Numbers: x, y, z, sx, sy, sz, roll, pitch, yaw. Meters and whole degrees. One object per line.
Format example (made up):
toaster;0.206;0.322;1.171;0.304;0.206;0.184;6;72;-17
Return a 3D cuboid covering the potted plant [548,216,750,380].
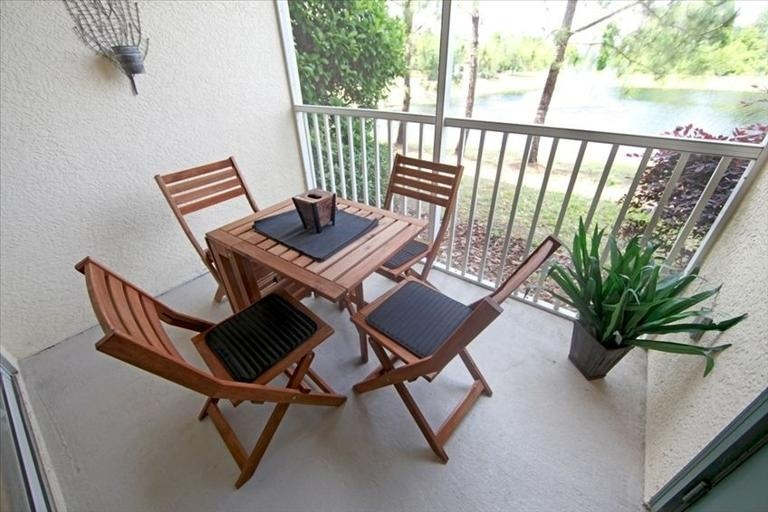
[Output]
potted plant;1.763;0.320;3.262;1.103;0.893;1.073;-30;54;-30
